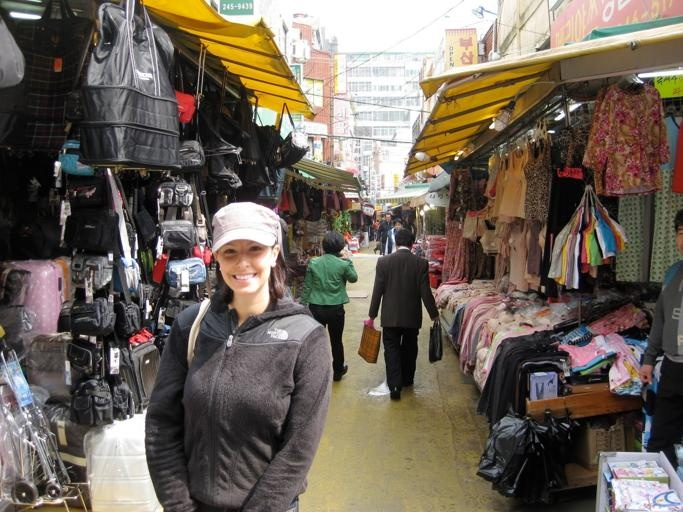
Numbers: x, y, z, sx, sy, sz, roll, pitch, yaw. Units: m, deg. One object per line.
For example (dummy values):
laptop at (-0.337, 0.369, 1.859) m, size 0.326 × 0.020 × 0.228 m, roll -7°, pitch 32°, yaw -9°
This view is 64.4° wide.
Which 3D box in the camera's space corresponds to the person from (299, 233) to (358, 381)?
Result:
person at (-0.175, 0.622, 7.343) m, size 0.590 × 2.024 × 0.743 m, roll 0°, pitch 2°, yaw 21°

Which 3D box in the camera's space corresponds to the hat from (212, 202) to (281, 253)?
hat at (-0.445, -0.153, 2.623) m, size 0.268 × 0.261 × 0.254 m, roll 23°, pitch 19°, yaw 36°

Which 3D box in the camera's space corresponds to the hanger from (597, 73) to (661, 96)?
hanger at (2.407, -1.451, 4.527) m, size 0.290 × 0.137 × 0.419 m, roll 1°, pitch 2°, yaw 22°

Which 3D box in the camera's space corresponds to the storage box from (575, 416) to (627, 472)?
storage box at (2.151, 1.510, 4.421) m, size 0.413 × 0.377 × 0.181 m, roll -2°, pitch 6°, yaw -9°

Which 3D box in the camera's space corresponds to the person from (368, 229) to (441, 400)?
person at (0.743, 0.701, 6.727) m, size 0.791 × 2.011 × 0.689 m, roll -2°, pitch 6°, yaw -12°
